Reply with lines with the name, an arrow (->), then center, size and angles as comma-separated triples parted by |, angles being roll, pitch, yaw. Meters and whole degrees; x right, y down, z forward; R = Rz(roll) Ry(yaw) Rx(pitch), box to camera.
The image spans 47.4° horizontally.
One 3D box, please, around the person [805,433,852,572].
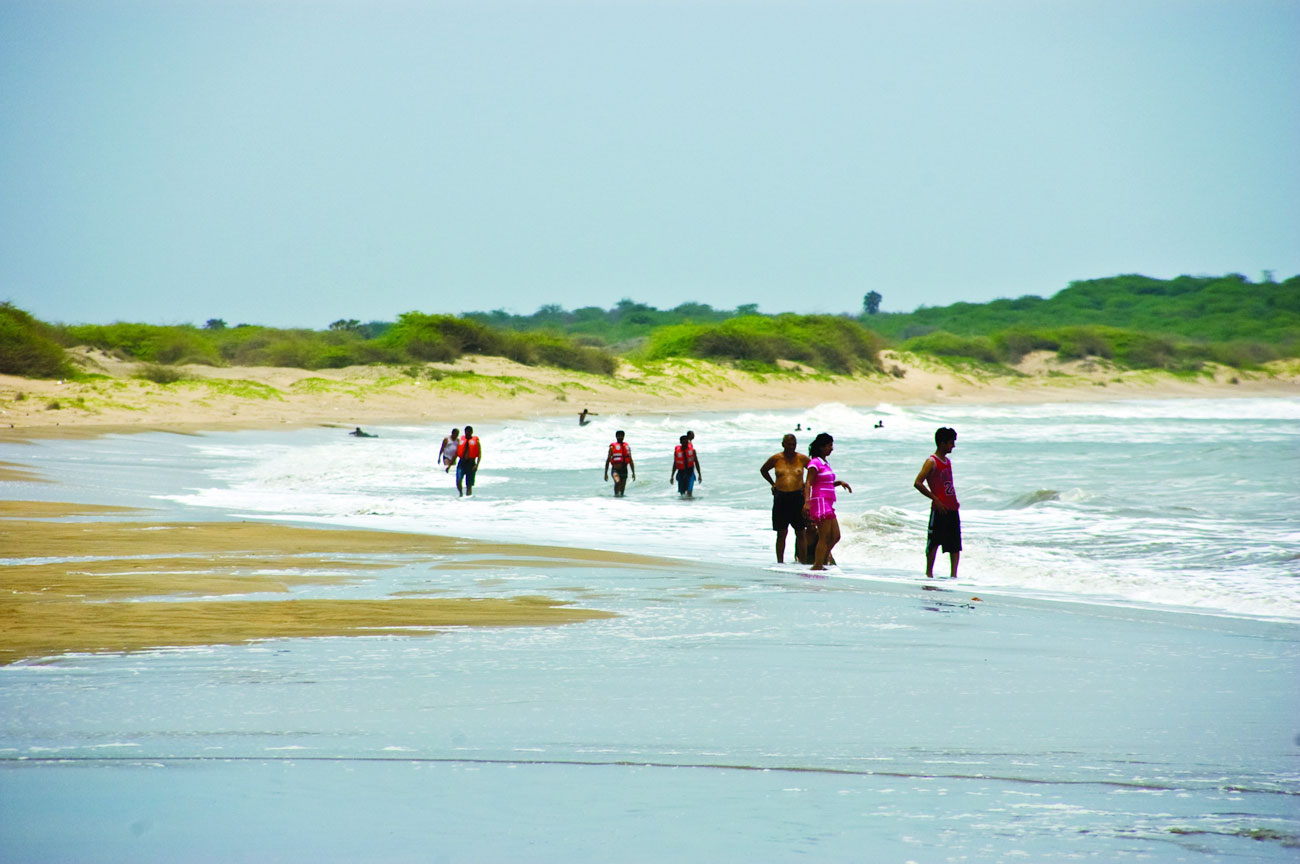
person -> 2.109, 0.762, 16.841 | 0.460, 1.512, 0.946 | 1, 3, 11
